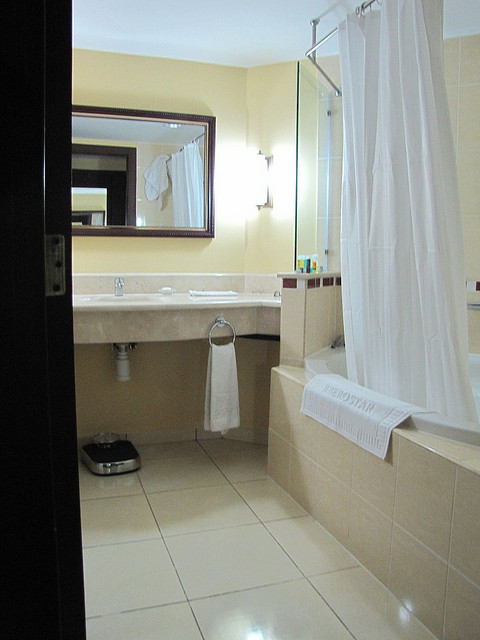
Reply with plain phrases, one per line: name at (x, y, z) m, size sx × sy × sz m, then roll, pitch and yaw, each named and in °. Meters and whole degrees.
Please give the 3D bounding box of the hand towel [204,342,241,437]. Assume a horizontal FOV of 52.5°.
hand towel at (-0.079, 0.332, 2.323) m, size 0.157 × 0.581 × 0.119 m, roll -2°, pitch 6°, yaw -24°

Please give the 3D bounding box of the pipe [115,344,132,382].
pipe at (-0.599, 0.213, 2.485) m, size 0.069 × 0.196 × 0.114 m, roll -1°, pitch 4°, yaw -20°

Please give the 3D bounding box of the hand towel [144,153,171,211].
hand towel at (-0.455, -0.762, 2.658) m, size 0.104 × 0.293 × 0.035 m, roll -4°, pitch 10°, yaw -30°

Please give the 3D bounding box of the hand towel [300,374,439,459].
hand towel at (0.431, 0.281, 1.630) m, size 0.291 × 0.192 × 0.439 m, roll -1°, pitch 12°, yaw -19°
